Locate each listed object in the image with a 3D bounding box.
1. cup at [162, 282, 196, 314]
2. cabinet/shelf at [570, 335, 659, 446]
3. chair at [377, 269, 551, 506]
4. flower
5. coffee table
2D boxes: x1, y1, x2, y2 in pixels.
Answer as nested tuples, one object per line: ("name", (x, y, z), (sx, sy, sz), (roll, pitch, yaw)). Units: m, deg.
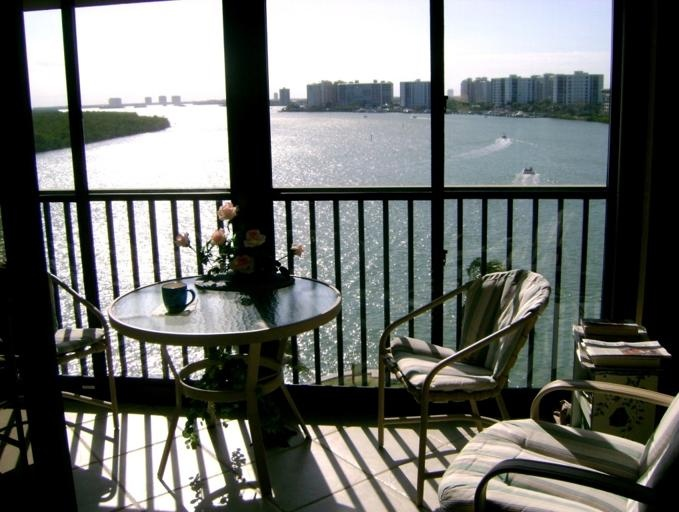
("cup", (-0.767, 0.220, 2.967), (0.112, 0.127, 0.176), (-1, -1, 29))
("cabinet/shelf", (1.352, 0.657, 3.238), (0.439, 0.611, 0.659), (2, 6, 14))
("chair", (0.697, 0.511, 3.502), (1.047, 1.404, 1.082), (-1, 6, -13))
("flower", (-0.573, -0.087, 3.298), (0.612, 0.418, 0.525), (-11, 16, -29))
("coffee table", (-0.509, 0.331, 3.037), (1.065, 0.825, 1.091), (-12, 19, -39))
